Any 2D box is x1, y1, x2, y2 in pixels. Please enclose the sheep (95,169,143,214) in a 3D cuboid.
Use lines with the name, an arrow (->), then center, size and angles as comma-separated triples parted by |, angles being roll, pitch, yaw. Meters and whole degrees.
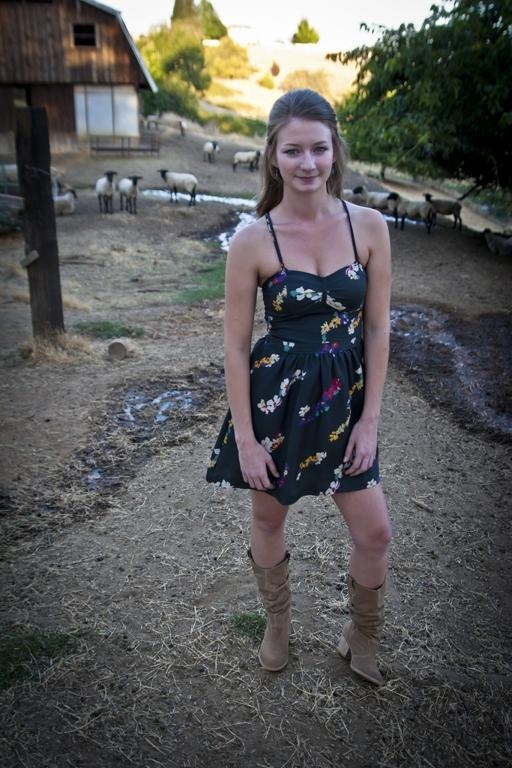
sheep -> -1.223, -1.715, 5.257 | 0.406, 0.348, 0.439 | -3, 16, -11

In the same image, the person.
person -> 0.174, 0.117, 1.782 | 0.501, 1.860, 0.387 | 3, 16, 12

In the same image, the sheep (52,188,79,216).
sheep -> -1.750, -1.667, 5.371 | 0.368, 0.229, 0.155 | 10, 19, 33

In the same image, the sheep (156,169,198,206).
sheep -> -0.691, -1.833, 5.432 | 0.363, 0.232, 0.170 | 20, 46, 13
